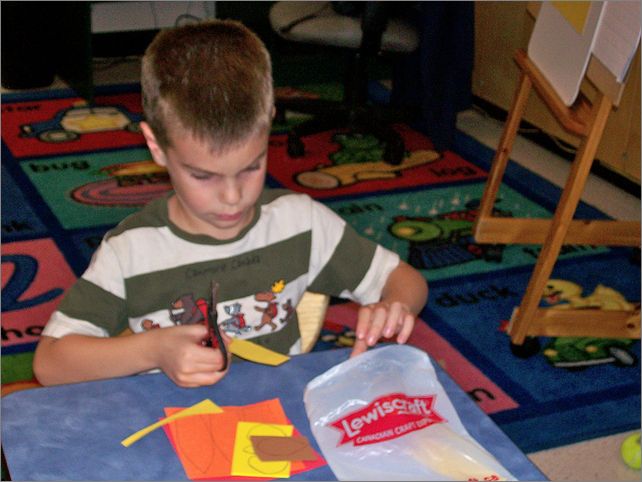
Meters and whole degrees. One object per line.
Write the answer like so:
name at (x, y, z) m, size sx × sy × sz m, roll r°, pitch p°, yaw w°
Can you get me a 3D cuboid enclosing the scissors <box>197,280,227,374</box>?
scissors at (-0.214, 0.163, 1.169) m, size 0.048 × 0.162 × 0.044 m, roll -18°, pitch 20°, yaw -39°
